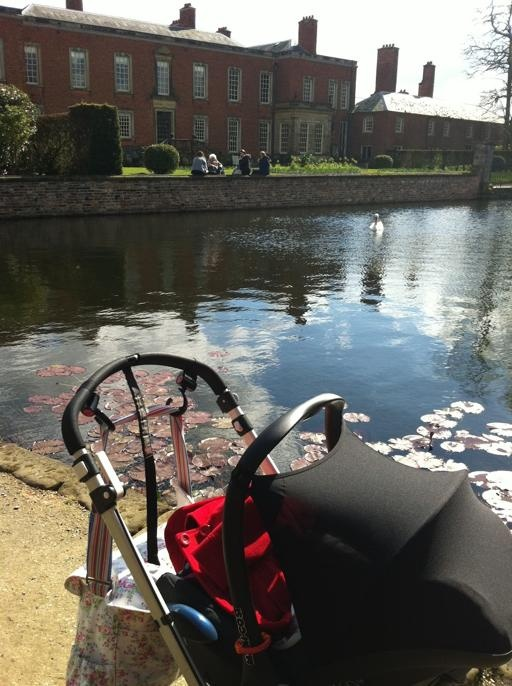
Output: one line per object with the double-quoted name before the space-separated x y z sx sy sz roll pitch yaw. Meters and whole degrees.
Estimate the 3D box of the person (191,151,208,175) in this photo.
"person" -2.235 -7.062 23.319 0.543 1.136 2.123 2 10 -7

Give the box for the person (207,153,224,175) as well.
"person" -1.740 -7.487 25.163 0.648 0.959 2.400 3 10 -6
